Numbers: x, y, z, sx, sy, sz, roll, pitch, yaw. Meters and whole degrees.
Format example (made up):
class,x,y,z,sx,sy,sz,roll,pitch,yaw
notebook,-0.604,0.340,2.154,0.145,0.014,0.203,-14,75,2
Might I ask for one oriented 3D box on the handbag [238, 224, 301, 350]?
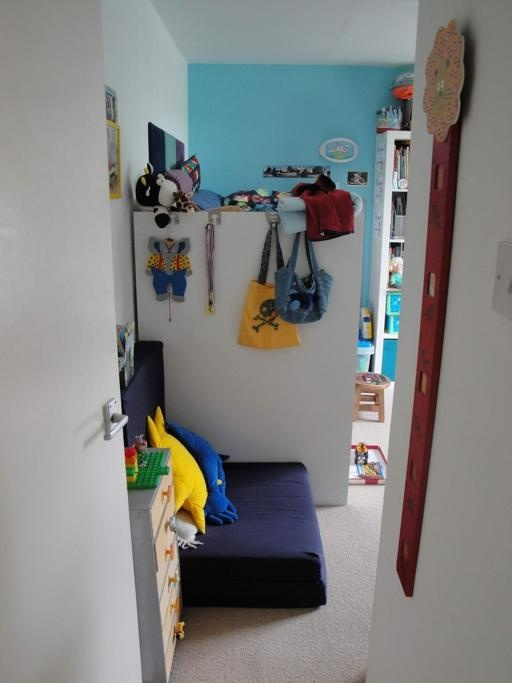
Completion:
class,x,y,z,sx,sy,sz,roll,pitch,yaw
handbag,0.080,-0.300,2.830,0.307,0.816,0.079,0,-27,7

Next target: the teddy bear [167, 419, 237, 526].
class,x,y,z,sx,sy,sz,roll,pitch,yaw
teddy bear,-0.219,0.627,2.433,0.087,0.427,0.345,-20,-9,7

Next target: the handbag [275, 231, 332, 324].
class,x,y,z,sx,sy,sz,roll,pitch,yaw
handbag,0.238,-0.346,2.584,0.262,0.603,0.139,5,41,9

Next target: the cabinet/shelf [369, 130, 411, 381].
class,x,y,z,sx,sy,sz,roll,pitch,yaw
cabinet/shelf,1.159,-0.704,4.633,0.276,2.181,0.424,3,12,14

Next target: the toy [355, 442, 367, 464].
class,x,y,z,sx,sy,sz,roll,pitch,yaw
toy,0.672,0.717,3.393,0.075,0.134,0.123,0,25,6

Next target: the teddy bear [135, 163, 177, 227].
class,x,y,z,sx,sy,sz,roll,pitch,yaw
teddy bear,-0.497,-0.712,2.574,0.221,0.301,0.161,-1,12,-3
